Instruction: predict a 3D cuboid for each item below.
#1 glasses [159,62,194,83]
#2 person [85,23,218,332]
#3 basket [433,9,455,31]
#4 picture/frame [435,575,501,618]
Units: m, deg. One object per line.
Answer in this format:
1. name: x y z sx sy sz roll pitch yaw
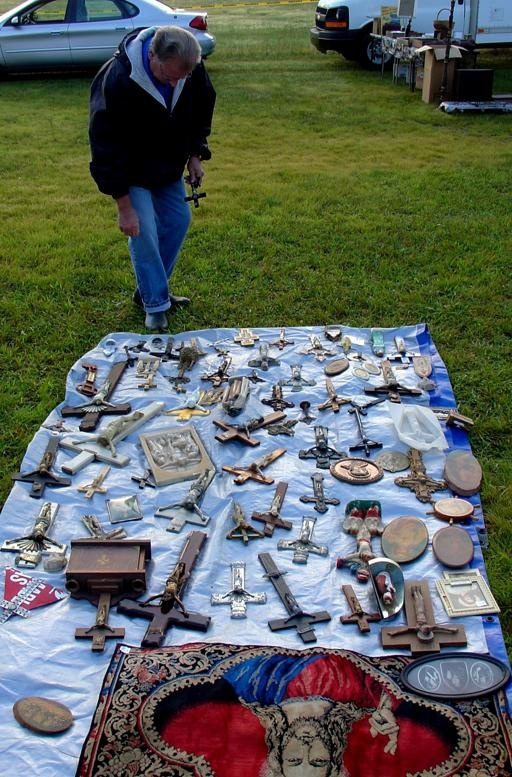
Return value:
1. glasses: -0.488 -1.897 3.713 0.136 0.173 0.089 -10 -19 -20
2. person: -0.709 -1.374 4.536 0.858 2.165 1.532 -2 23 -4
3. basket: 3.866 -7.748 13.187 0.296 0.518 0.726 5 23 13
4. picture/frame: 0.920 0.910 2.784 0.222 0.071 0.229 -1 23 -2
